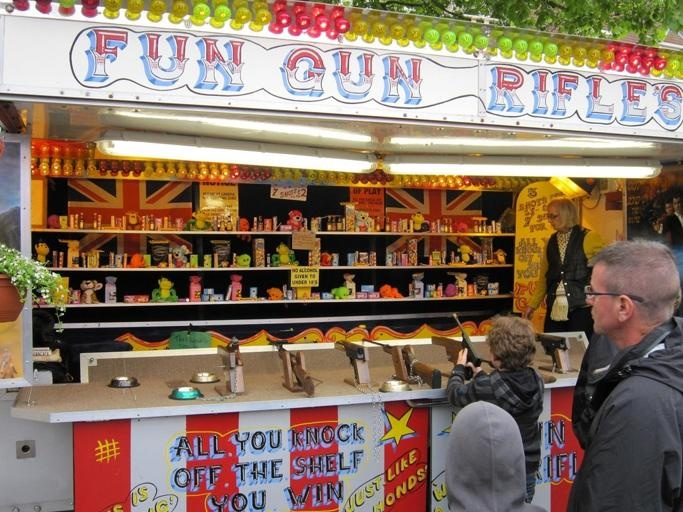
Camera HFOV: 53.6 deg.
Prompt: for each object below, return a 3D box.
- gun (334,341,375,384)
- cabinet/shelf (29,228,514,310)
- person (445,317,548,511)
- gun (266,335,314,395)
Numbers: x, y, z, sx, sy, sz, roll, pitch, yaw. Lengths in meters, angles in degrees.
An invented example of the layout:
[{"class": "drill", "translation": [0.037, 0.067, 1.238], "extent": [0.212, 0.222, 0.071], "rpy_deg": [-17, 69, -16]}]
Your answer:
[{"class": "gun", "translation": [0.079, 0.698, 4.474], "extent": [0.210, 0.268, 0.542], "rpy_deg": [-2, -6, -3]}, {"class": "cabinet/shelf", "translation": [-0.590, 0.209, 8.133], "extent": [5.696, 0.995, 0.556], "rpy_deg": [0, -6, -19]}, {"class": "person", "translation": [0.864, 0.873, 3.849], "extent": [0.519, 1.043, 0.402], "rpy_deg": [-6, -7, 38]}, {"class": "gun", "translation": [-0.301, 0.711, 4.340], "extent": [0.173, 0.314, 0.705], "rpy_deg": [-1, -6, -9]}]
